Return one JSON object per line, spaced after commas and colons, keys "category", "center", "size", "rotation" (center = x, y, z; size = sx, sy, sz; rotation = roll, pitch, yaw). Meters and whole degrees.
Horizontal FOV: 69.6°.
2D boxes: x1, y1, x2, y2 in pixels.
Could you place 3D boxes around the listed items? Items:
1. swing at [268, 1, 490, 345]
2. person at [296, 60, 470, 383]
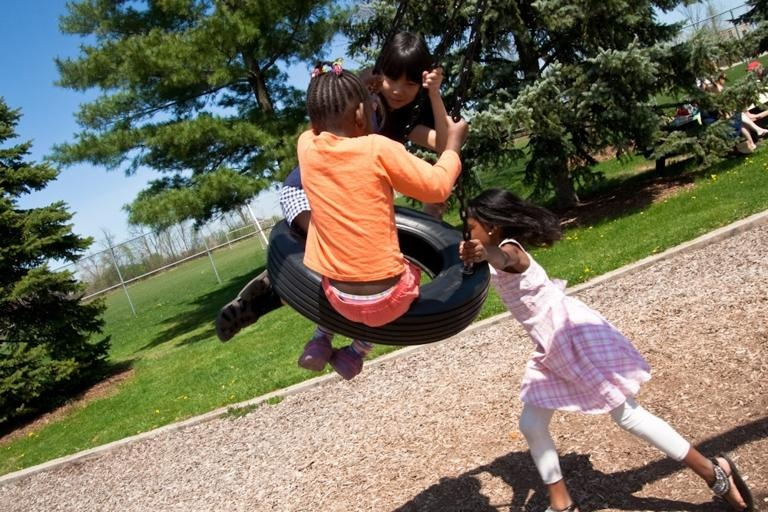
{"category": "swing", "center": [-0.025, 0.003, 4.641], "size": [1.834, 1.238, 3.299], "rotation": [-4, -35, 0]}
{"category": "person", "center": [-0.161, -0.188, 3.626], "size": [0.970, 1.893, 1.511], "rotation": [0, -25, -2]}
